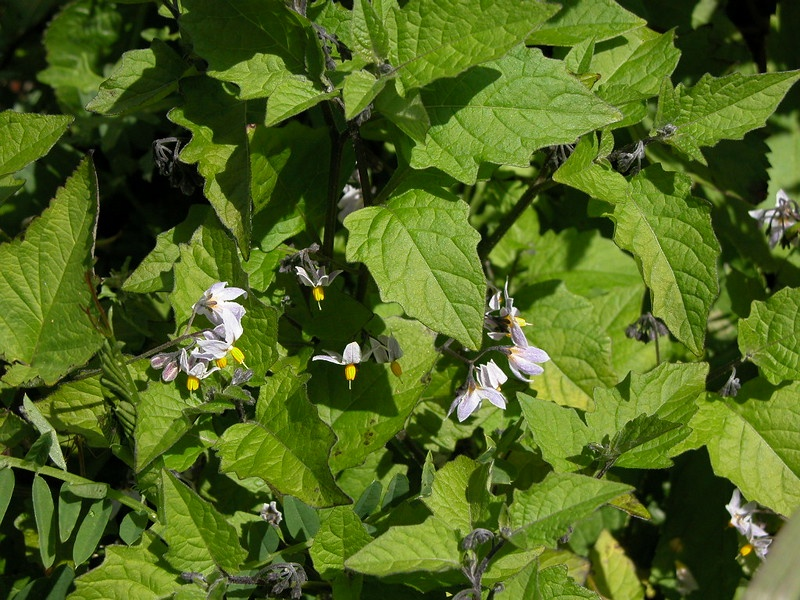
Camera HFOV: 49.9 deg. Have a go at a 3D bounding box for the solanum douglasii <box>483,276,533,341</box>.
[{"bbox_3d":[0.394,0.069,3.321,0.189,0.156,0.216,20,55,-1],"label":"solanum douglasii"}]

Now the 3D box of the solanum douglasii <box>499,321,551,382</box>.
[{"bbox_3d":[0.466,0.227,3.235,0.115,0.235,0.159,-32,42,-28],"label":"solanum douglasii"}]

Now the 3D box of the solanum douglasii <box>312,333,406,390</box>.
[{"bbox_3d":[-0.115,0.205,3.216,0.209,0.122,0.233,-22,-3,-2],"label":"solanum douglasii"}]

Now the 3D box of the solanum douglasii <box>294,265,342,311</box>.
[{"bbox_3d":[-0.301,-0.046,3.149,0.163,0.153,0.149,-1,3,-31],"label":"solanum douglasii"}]

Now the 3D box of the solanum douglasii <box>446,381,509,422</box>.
[{"bbox_3d":[0.263,0.360,3.235,0.208,0.084,0.213,28,2,-23],"label":"solanum douglasii"}]

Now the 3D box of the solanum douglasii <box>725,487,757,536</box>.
[{"bbox_3d":[1.339,0.839,3.401,0.148,0.178,0.070,-25,-14,40],"label":"solanum douglasii"}]

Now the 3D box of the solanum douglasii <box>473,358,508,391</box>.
[{"bbox_3d":[0.334,0.277,3.158,0.091,0.112,0.039,-16,3,-8],"label":"solanum douglasii"}]
